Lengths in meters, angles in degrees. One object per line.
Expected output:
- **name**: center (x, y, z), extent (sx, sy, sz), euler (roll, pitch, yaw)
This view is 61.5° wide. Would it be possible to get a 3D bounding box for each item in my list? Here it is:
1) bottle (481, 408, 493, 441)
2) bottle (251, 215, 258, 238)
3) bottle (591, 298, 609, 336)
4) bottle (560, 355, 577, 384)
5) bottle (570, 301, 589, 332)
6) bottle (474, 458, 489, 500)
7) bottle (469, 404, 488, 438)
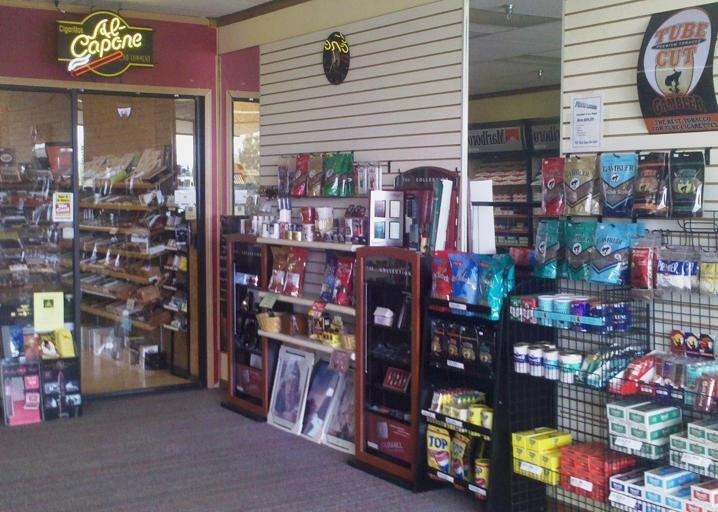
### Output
- **bottle**: center (0.914, 1.188, 4.270), extent (0.064, 0.167, 0.138), euler (-3, 7, -26)
- **bottle**: center (-1.098, -0.319, 6.366), extent (0.065, 0.203, 0.106), euler (-2, 7, -20)
- **bottle**: center (1.510, 0.386, 3.807), extent (0.115, 0.186, 0.101), euler (-6, 8, -39)
- **bottle**: center (1.359, 0.726, 3.885), extent (0.127, 0.181, 0.073), euler (1, 6, 14)
- **bottle**: center (1.409, 0.382, 3.862), extent (0.095, 0.180, 0.135), euler (0, 7, 4)
- **bottle**: center (0.898, 1.609, 4.348), extent (0.086, 0.250, 0.172), euler (-2, 7, -19)
- **bottle**: center (0.849, 1.185, 4.324), extent (0.125, 0.146, 0.127), euler (2, -2, -36)
